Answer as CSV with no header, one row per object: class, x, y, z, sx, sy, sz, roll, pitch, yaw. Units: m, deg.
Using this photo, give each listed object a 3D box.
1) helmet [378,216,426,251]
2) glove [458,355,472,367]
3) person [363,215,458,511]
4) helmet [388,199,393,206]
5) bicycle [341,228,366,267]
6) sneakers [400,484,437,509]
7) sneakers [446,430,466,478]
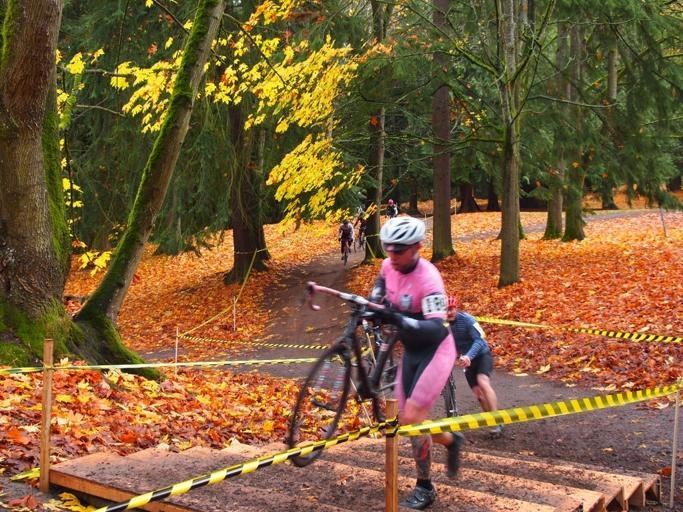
helmet,0.786,-0.292,11.530,0.563,0.396,0.307,-2,4,1
glove,1.876,1.617,13.676,0.193,0.224,0.277,-2,4,6
person,1.024,1.314,11.590,0.876,3.620,0.968,-3,4,-12
helmet,1.921,-2.118,35.153,0.187,0.194,0.245,-1,-5,5
bicycle,0.186,-0.259,31.846,0.687,0.765,1.376,6,13,23
sneakers,1.002,3.016,11.322,0.496,0.285,0.225,-5,5,-31
sneakers,1.477,2.523,11.521,0.206,0.580,0.262,7,10,34
